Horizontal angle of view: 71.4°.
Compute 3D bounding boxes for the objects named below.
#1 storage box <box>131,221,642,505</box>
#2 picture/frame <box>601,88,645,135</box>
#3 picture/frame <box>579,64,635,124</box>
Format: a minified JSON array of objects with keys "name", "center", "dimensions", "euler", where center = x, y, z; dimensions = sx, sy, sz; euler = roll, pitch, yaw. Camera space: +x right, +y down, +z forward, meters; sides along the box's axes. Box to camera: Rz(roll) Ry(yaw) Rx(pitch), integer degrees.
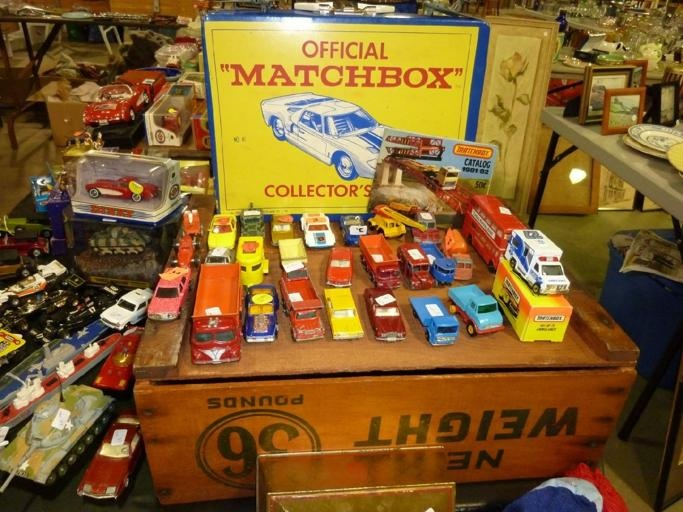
[{"name":"storage box","center":[0.191,0.572,3.073],"dimensions":[2.778,1.123,1.366],"euler":[-2,49,-5]},{"name":"picture/frame","center":[2.401,-1.267,4.049],"dimensions":[0.433,0.378,0.031],"euler":[-9,16,-17]},{"name":"picture/frame","center":[2.331,-1.446,4.177],"dimensions":[0.638,0.482,0.069],"euler":[-11,19,-27]}]
